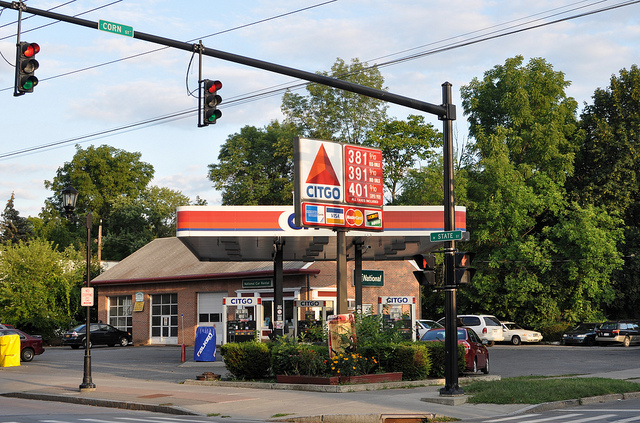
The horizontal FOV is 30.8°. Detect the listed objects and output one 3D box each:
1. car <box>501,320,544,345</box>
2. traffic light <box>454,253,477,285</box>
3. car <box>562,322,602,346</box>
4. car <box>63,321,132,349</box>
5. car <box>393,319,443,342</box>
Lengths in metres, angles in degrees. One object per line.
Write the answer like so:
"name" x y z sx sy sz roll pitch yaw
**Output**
"car" 14.284 8.637 82.734 3.107 1.007 1.426 -6 -7 37
"traffic light" 7.086 2.720 56.804 0.944 1.744 1.275 -3 -10 7
"car" 18.548 8.683 82.365 2.462 1.619 1.271 -3 -10 5
"car" -16.276 9.012 84.535 4.208 1.388 1.923 0 -4 -34
"car" 5.579 6.854 66.924 3.238 1.082 1.645 -8 -10 28
